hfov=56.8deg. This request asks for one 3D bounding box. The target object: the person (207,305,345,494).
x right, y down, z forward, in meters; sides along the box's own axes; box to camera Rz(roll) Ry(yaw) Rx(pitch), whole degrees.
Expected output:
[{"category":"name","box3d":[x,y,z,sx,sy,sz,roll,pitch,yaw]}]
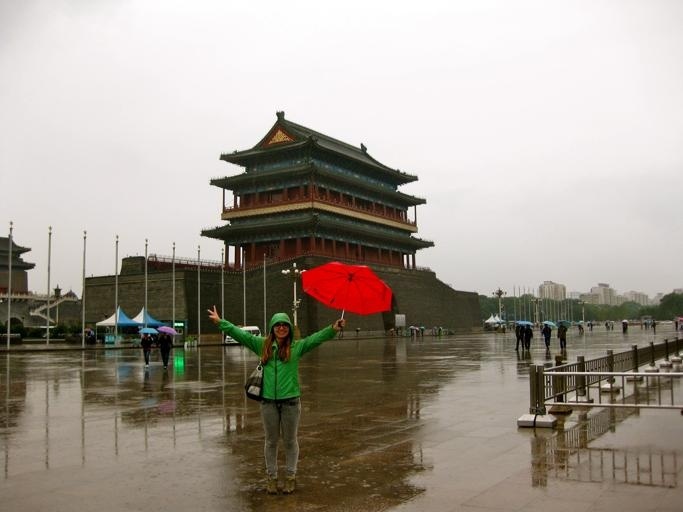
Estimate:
[{"category":"person","box3d":[-0.798,1.862,8.157,1.361,2.235,0.436,-1,-8,-6]}]

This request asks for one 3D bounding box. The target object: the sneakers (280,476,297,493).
[{"category":"sneakers","box3d":[-0.671,2.874,7.925,0.172,0.175,0.254,-1,-8,-7]}]
